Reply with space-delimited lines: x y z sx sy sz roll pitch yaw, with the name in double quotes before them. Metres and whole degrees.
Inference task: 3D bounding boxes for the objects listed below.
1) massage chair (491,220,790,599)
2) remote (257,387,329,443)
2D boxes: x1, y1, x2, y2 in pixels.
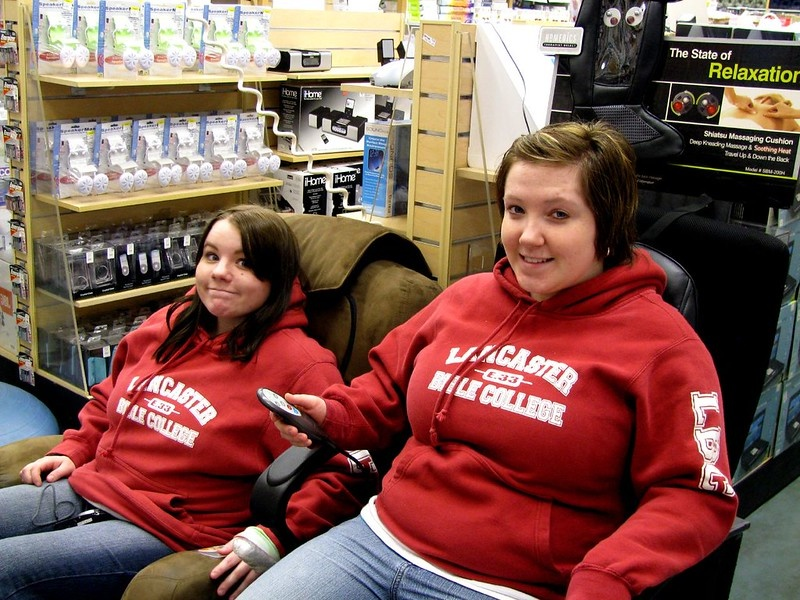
"massage chair" 0.555 0.125 1.621 0.667 0.908 0.801 11 16 39
"remote" -0.251 0.271 1.312 0.166 0.040 0.122 31 9 -29
